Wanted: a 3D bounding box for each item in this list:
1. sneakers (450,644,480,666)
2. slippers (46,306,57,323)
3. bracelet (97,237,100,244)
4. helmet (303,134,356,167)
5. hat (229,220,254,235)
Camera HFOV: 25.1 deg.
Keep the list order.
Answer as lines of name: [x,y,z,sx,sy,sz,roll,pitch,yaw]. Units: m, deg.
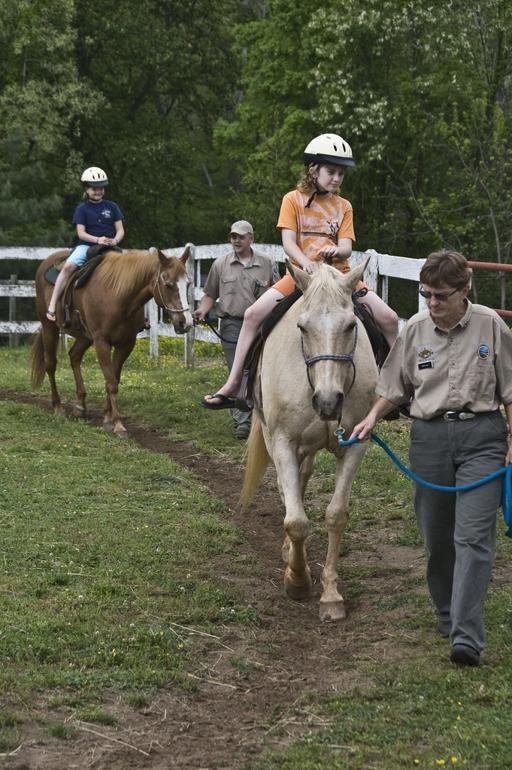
sneakers: [1.058,1.361,5.768,0.152,0.150,0.137,2,11,9]
slippers: [-2.305,-0.774,12.863,0.094,0.150,0.064,4,29,14]
bracelet: [-1.729,-1.561,12.462,0.033,0.075,0.118,-1,11,-8]
helmet: [0.472,-1.477,7.323,0.239,0.158,0.319,-4,7,-42]
hat: [-0.140,-1.552,11.277,0.170,0.124,0.245,2,-4,18]
